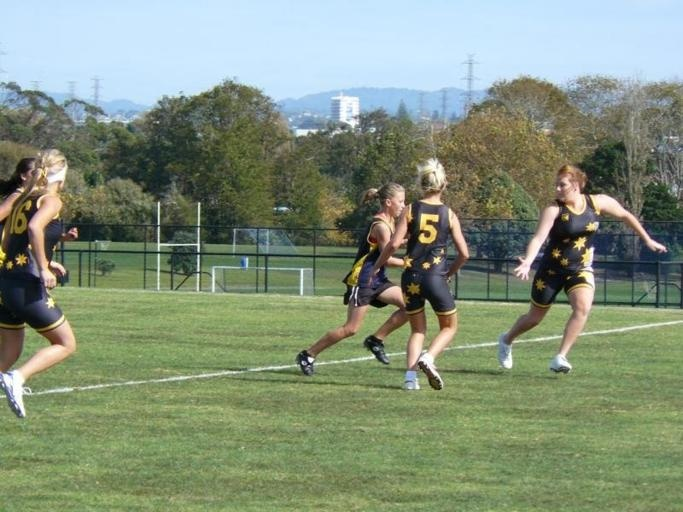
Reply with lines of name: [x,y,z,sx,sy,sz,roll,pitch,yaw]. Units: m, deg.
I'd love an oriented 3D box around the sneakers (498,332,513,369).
sneakers: [1.805,1.035,13.866,0.149,0.405,0.180,-3,11,5]

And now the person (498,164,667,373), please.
person: [2.429,0.131,13.463,1.238,2.244,0.778,-3,10,-14]

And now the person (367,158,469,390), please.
person: [0.864,0.192,12.793,0.771,2.379,0.819,5,11,30]

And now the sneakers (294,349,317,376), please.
sneakers: [-0.376,1.126,13.476,0.172,0.329,0.121,-18,7,16]

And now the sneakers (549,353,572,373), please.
sneakers: [2.325,1.143,13.365,0.144,0.140,0.296,-2,-26,4]
